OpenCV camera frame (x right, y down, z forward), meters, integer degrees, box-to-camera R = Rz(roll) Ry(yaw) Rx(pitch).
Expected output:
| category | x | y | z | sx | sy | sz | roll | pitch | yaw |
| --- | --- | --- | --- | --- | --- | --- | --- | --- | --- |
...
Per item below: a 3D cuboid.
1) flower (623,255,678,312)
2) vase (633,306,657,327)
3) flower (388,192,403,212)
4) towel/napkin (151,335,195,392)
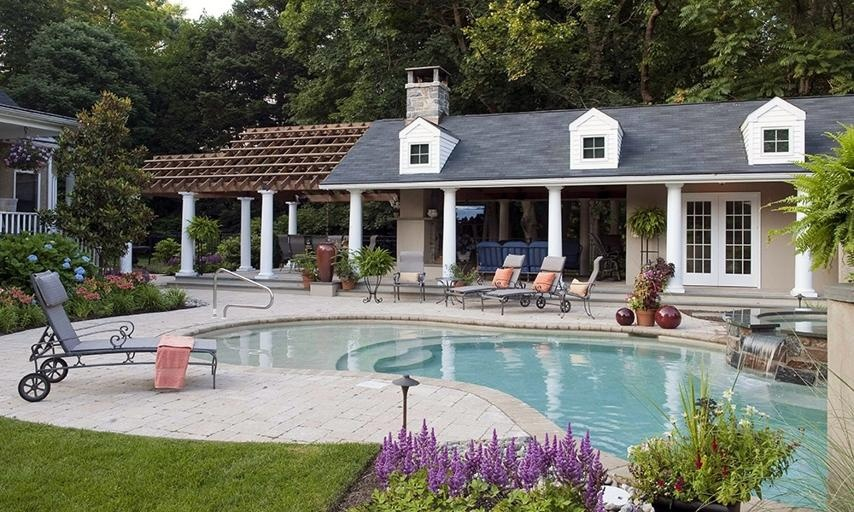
| category | x | y | z | sx | sy | sz | roll | pitch | yaw |
| --- | --- | --- | --- | --- | --- | --- | --- | --- | --- |
| flower | 6.043 | 0.754 | 19.874 | 1.072 | 1.421 | 0.777 | 1 | 3 | 23 |
| vase | 5.866 | 1.647 | 19.684 | 0.504 | 0.361 | 0.498 | 1 | -8 | 1 |
| flower | -1.182 | -2.157 | 29.483 | 0.546 | 0.760 | 0.187 | -16 | -17 | 42 |
| towel/napkin | -5.099 | 2.129 | 14.622 | 0.627 | 1.160 | 0.432 | 2 | -4 | -8 |
